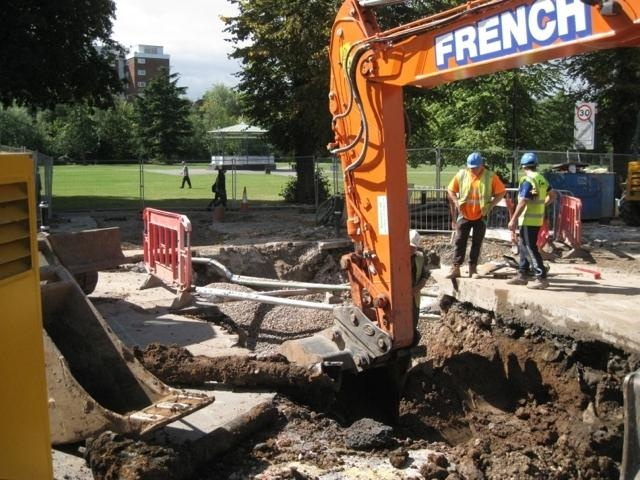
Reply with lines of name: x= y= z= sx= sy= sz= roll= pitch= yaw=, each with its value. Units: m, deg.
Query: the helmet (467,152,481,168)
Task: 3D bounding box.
helmet: x=2.353 y=-1.198 z=10.466 sx=0.182 sy=0.177 sz=0.270 roll=9 pitch=23 yaw=23

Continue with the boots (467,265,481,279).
boots: x=2.424 y=0.497 z=10.874 sx=0.223 sy=0.230 sz=0.119 roll=3 pitch=6 yaw=23
